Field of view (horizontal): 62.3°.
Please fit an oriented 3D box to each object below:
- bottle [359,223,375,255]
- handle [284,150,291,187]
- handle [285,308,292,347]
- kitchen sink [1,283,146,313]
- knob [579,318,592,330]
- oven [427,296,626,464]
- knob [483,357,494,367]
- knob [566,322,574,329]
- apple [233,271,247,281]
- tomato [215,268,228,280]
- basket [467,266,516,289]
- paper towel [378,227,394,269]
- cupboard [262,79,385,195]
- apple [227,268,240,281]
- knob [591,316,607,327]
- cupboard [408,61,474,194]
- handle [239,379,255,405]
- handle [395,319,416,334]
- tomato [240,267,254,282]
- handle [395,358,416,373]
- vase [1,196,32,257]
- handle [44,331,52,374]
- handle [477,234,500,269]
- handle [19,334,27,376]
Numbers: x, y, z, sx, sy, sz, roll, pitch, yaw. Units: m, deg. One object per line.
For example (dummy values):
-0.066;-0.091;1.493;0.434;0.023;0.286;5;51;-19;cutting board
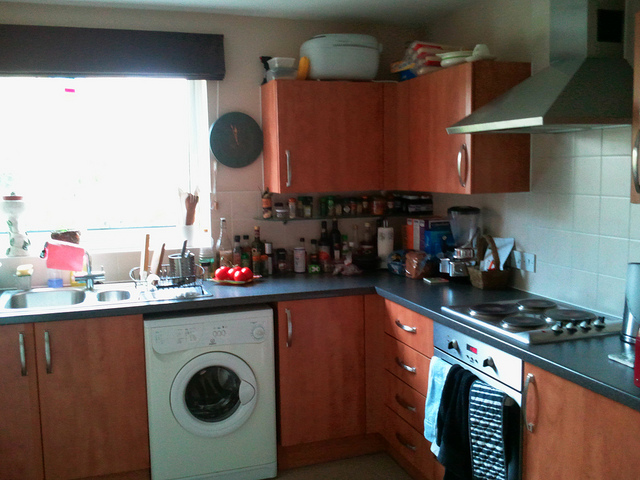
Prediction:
0.347;-0.005;4.019;0.116;0.235;0.290;-4;6;6;bottle
-0.217;-0.481;3.535;0.053;0.242;0.023;-5;6;-3;handle
-0.196;0.547;3.278;0.034;0.241;0.043;-4;6;4;handle
-1.549;0.370;3.303;0.848;0.118;0.682;-6;6;-19;kitchen sink
1.271;0.407;2.538;0.051;0.042;0.036;-4;7;-14;knob
0.978;0.609;2.978;0.740;1.024;0.752;0;5;-20;oven
0.805;0.588;2.534;0.034;0.036;0.043;2;7;3;knob
1.182;0.410;2.505;0.022;0.011;0.024;-17;17;-24;knob
-0.530;0.246;3.504;0.058;0.062;0.073;-16;-25;41;apple
-0.685;0.234;3.590;0.109;0.069;0.046;0;7;34;tomato
1.052;0.244;3.241;0.151;0.081;0.201;-2;5;-15;basket
0.483;0.060;3.919;0.114;0.302;0.096;-4;6;3;paper towel
-0.012;-0.709;3.735;0.965;0.728;0.403;-2;13;-20;cupboard
-0.585;0.236;3.567;0.076;0.073;0.074;-4;8;-12;apple
1.342;0.397;2.565;0.059;0.060;0.045;-2;-1;-5;knob
0.734;-0.684;3.305;0.503;0.671;0.730;-3;6;-19;cupboard
-0.445;0.923;3.210;0.120;0.128;0.030;10;-3;-19;handle
0.496;0.516;3.137;0.022;0.057;0.224;-7;7;-22;handle
-0.497;0.236;3.547;0.077;0.060;0.086;37;1;21;tomato
0.506;0.747;3.155;0.025;0.028;0.213;2;8;-16;handle
-1.997;-0.088;3.493;0.161;0.390;0.134;-9;7;-36;vase
-1.532;0.636;2.975;0.041;0.249;0.019;-6;6;-15;handle
1.057;0.080;3.326;0.044;0.205;0.212;-3;-3;-16;handle
-1.656;0.645;2.949;0.033;0.241;0.017;-6;6;-18;handle
